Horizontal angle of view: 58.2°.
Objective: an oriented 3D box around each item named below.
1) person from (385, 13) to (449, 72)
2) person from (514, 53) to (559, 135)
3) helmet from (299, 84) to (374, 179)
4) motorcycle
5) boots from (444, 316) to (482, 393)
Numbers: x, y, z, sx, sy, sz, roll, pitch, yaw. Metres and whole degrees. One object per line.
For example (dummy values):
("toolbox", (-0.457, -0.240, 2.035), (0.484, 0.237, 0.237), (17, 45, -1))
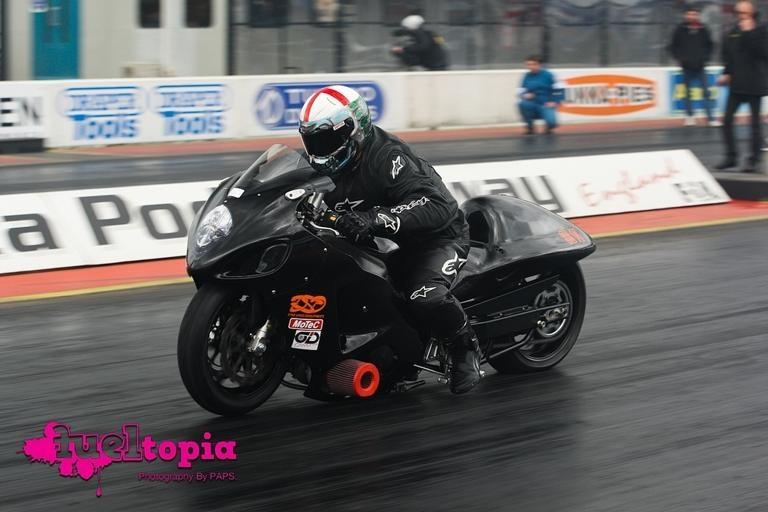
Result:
("person", (0.858, -5.064, 16.382), (1.346, 1.195, 0.809), (12, 30, 27))
("person", (3.428, -3.559, 15.215), (0.928, 1.566, 1.167), (2, 26, 9))
("helmet", (-0.351, -0.840, 4.501), (0.486, 0.490, 0.544), (1, 29, 25))
("motorcycle", (0.122, 0.192, 4.947), (3.478, 1.474, 1.082), (-4, 1, -33))
("boots", (0.563, 0.659, 4.657), (0.228, 0.243, 0.540), (-12, 41, 34))
